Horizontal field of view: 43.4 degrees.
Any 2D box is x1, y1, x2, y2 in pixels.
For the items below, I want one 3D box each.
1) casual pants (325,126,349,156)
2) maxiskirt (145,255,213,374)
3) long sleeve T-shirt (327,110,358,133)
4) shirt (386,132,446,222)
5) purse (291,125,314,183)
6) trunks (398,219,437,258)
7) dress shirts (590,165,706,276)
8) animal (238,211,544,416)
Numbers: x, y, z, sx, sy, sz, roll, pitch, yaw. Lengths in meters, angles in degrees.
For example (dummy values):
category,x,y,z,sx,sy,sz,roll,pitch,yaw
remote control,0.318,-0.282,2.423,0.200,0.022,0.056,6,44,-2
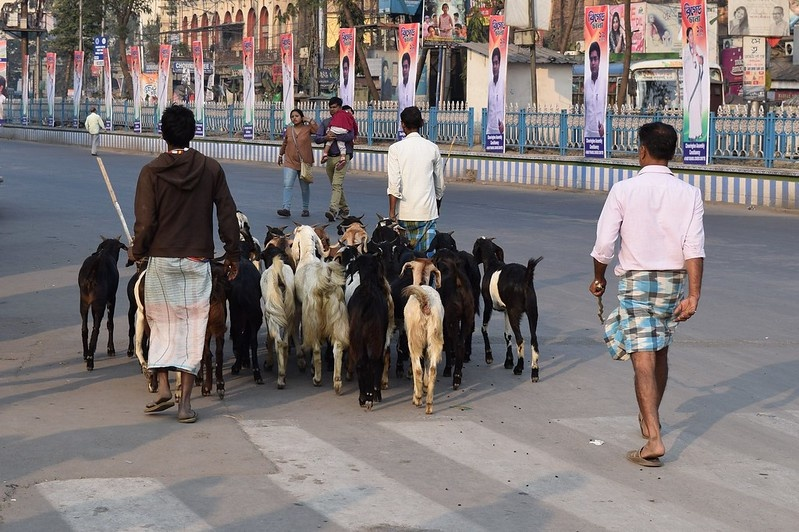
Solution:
category,x,y,z,sx,sy,sz,roll,pitch,yaw
casual pants,-1.320,-2.722,21.633,0.383,0.715,0.235,5,-5,2
maxiskirt,-2.089,0.463,9.543,0.617,1.112,0.334,-2,14,-12
long sleeve T-shirt,-1.237,-3.101,22.063,0.480,0.553,0.586,12,-34,-4
shirt,0.208,-1.130,12.381,0.726,1.069,0.351,-4,11,-12
purse,-2.038,-2.328,21.385,0.362,1.154,0.619,-5,14,-22
trunks,0.269,-0.342,12.570,0.483,0.645,0.346,-8,-15,34
dress shirts,2.274,-0.301,9.132,0.994,1.202,0.589,2,28,11
animal,-0.626,0.438,11.091,1.759,1.600,3.008,-2,14,-12
